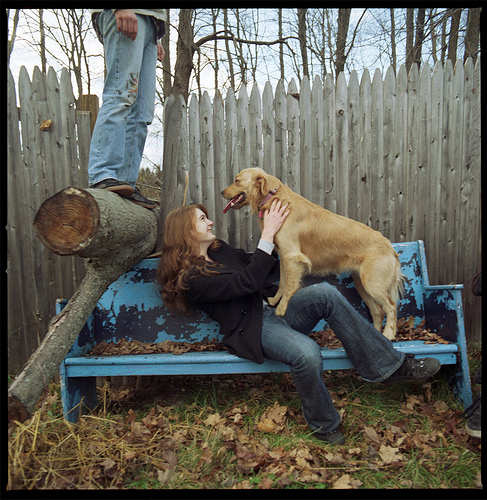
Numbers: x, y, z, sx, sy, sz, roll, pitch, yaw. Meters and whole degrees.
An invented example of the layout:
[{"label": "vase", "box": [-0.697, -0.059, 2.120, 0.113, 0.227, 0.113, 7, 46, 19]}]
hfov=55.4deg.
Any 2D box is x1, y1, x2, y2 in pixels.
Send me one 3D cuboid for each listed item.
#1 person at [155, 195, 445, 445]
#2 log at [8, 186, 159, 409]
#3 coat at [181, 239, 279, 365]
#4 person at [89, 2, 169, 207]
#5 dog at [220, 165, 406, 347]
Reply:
[{"label": "person", "box": [0.306, 0.446, 3.347, 2.091, 1.452, 0.784, 6, 17, 23]}, {"label": "log", "box": [-1.057, 0.207, 3.182, 0.504, 1.313, 1.322, 1, 14, 9]}, {"label": "coat", "box": [-0.071, 0.349, 3.386, 0.745, 0.780, 0.712, 14, 15, -15]}, {"label": "person", "box": [-0.858, -1.044, 3.421, 0.556, 1.514, 0.922, -2, 14, -3]}, {"label": "dog", "box": [0.514, 0.042, 3.715, 1.607, 1.144, 0.513, 11, -6, -3]}]
